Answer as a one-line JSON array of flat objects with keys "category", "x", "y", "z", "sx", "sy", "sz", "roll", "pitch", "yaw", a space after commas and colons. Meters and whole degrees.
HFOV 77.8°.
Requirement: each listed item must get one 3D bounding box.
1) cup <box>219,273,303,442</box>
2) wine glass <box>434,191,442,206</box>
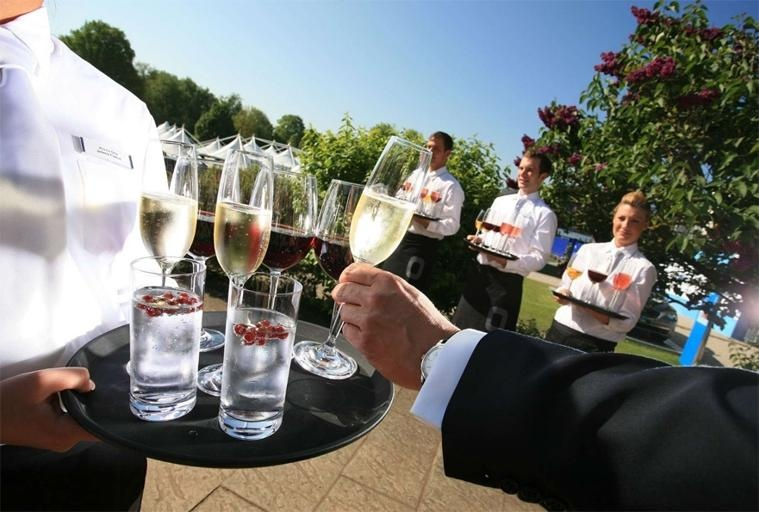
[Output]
[{"category": "cup", "x": -0.436, "y": 0.373, "z": 1.685, "sx": 0.281, "sy": 0.536, "sz": 0.179, "roll": 11, "pitch": 10, "yaw": -17}, {"category": "wine glass", "x": 0.688, "y": -0.711, "z": 5.685, "sx": 0.117, "sy": 0.174, "sz": 0.118, "roll": 1, "pitch": -2, "yaw": 0}]
